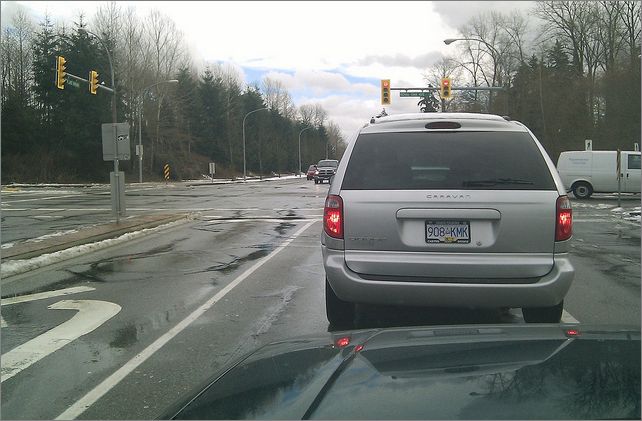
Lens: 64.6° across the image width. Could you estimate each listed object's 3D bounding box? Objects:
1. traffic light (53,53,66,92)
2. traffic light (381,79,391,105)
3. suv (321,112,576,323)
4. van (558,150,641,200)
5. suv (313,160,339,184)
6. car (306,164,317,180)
[{"bbox_3d":[-11.646,-6.112,22.456,0.373,1.322,0.636,-3,8,-28],"label":"traffic light"},{"bbox_3d":[4.065,-7.268,31.180,0.481,1.460,0.698,0,7,-7],"label":"traffic light"},{"bbox_3d":[1.548,-0.076,7.652,2.954,2.431,5.184,0,8,2],"label":"suv"},{"bbox_3d":[13.157,-1.694,23.582,4.252,1.818,2.508,-1,5,14],"label":"van"},{"bbox_3d":[0.510,-3.369,44.825,1.979,1.922,4.023,0,1,4],"label":"suv"},{"bbox_3d":[-1.117,-4.473,60.233,1.116,1.057,1.944,0,0,-1],"label":"car"}]
